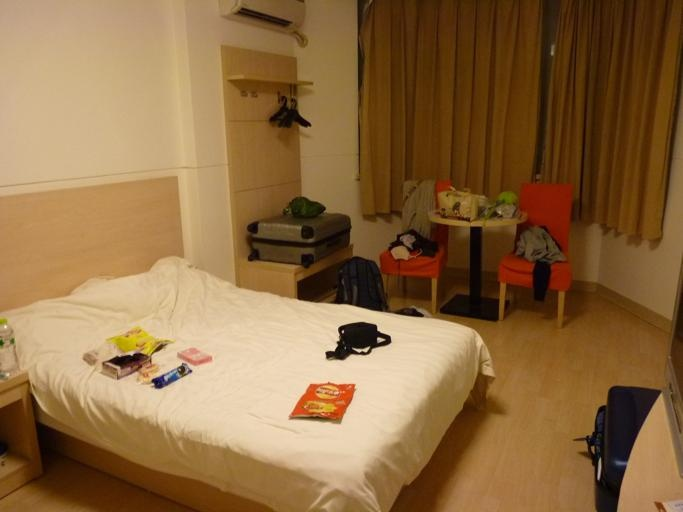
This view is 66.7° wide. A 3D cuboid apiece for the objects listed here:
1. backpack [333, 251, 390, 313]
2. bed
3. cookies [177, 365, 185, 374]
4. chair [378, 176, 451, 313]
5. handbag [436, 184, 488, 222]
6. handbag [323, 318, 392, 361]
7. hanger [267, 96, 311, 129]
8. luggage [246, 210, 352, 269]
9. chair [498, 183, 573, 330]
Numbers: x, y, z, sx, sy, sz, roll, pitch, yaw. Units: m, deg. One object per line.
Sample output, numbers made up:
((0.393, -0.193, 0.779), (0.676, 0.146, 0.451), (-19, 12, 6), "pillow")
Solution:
((0.204, 0.220, 4.397), (0.377, 0.544, 0.291), (-9, 34, 3), "backpack")
((-0.685, 0.448, 2.907), (2.660, 1.463, 1.597), (2, 19, 10), "bed")
((-0.873, 0.612, 2.811), (0.027, 0.014, 0.035), (23, 15, 38), "cookies")
((0.692, -0.106, 4.828), (0.541, 1.078, 0.624), (8, 19, 20), "chair")
((1.021, -0.486, 4.423), (0.354, 0.203, 0.290), (15, 22, 31), "handbag")
((0.096, 0.483, 2.998), (0.272, 0.084, 0.207), (-2, 15, -3), "handbag")
((-0.489, -1.272, 4.633), (0.451, 0.352, 0.242), (1, -7, -8), "hanger")
((-0.406, -0.146, 4.301), (0.456, 0.250, 0.623), (4, 12, 24), "luggage")
((1.740, -0.048, 4.581), (0.562, 1.108, 0.892), (7, 21, 23), "chair")
